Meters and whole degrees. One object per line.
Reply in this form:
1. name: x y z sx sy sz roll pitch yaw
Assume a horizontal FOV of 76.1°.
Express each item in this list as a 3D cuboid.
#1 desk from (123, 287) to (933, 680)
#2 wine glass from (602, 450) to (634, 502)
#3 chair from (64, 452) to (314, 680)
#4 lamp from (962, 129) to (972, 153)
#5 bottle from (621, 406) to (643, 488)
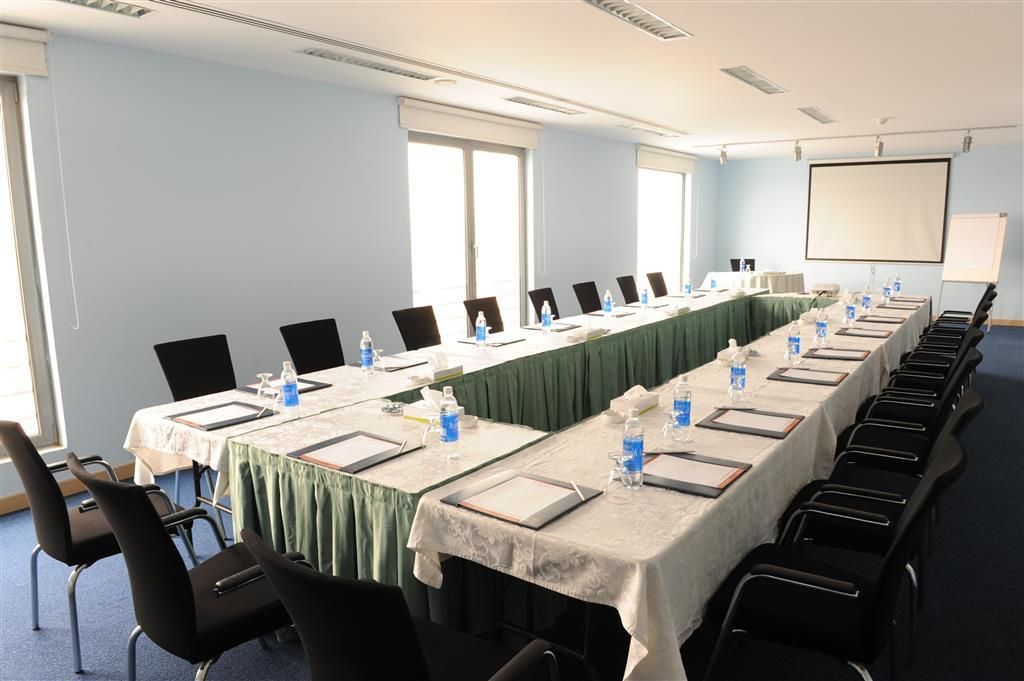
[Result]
1. desk: 0.539 0.690 4.369 2.703 0.878 3.727 5 15 38
2. wine glass: 0.547 0.630 3.224 0.187 0.190 0.116 2 8 33
3. chair: -1.646 1.184 3.341 0.828 1.255 0.917 16 23 37
4. lamp: 7.362 -3.186 10.531 0.132 0.245 2.268 4 15 34
5. bottle: 0.588 0.514 3.178 0.095 0.357 0.159 -3 13 8
